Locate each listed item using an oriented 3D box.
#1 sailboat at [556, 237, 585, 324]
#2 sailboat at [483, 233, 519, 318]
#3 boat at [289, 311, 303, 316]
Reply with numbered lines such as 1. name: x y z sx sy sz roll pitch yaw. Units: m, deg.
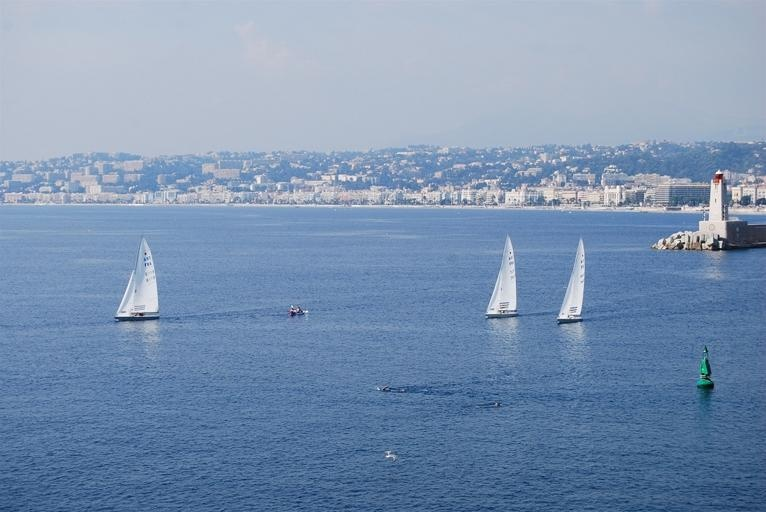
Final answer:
1. sailboat: 15.763 2.942 120.941 2.598 8.113 2.304 1 3 12
2. sailboat: 10.320 1.727 122.826 2.413 7.136 7.823 -1 3 5
3. boat: -7.474 4.967 125.153 1.284 0.383 0.808 -2 3 -12
